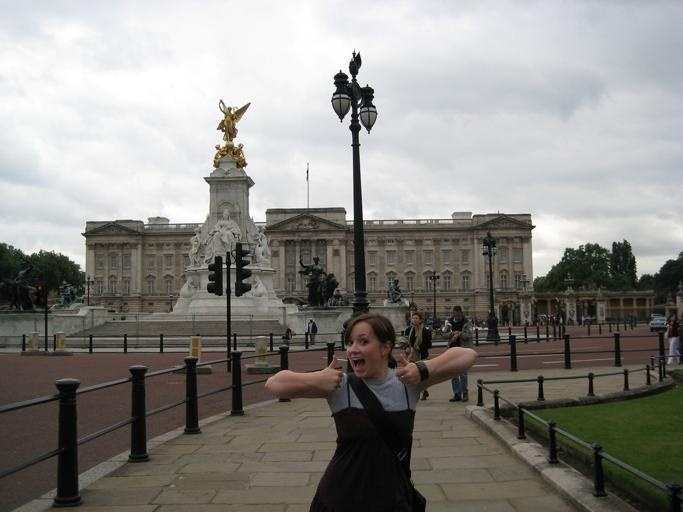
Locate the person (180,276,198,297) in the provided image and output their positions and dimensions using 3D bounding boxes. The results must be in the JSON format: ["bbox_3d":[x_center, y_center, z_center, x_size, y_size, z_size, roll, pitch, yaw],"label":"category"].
[{"bbox_3d":[-10.970,2.167,54.449,0.968,1.406,1.733,2,-5,-29],"label":"person"}]

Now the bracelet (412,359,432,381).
[{"bbox_3d":[0.864,1.192,7.911,0.141,0.204,0.192,-16,-41,-11],"label":"bracelet"}]
